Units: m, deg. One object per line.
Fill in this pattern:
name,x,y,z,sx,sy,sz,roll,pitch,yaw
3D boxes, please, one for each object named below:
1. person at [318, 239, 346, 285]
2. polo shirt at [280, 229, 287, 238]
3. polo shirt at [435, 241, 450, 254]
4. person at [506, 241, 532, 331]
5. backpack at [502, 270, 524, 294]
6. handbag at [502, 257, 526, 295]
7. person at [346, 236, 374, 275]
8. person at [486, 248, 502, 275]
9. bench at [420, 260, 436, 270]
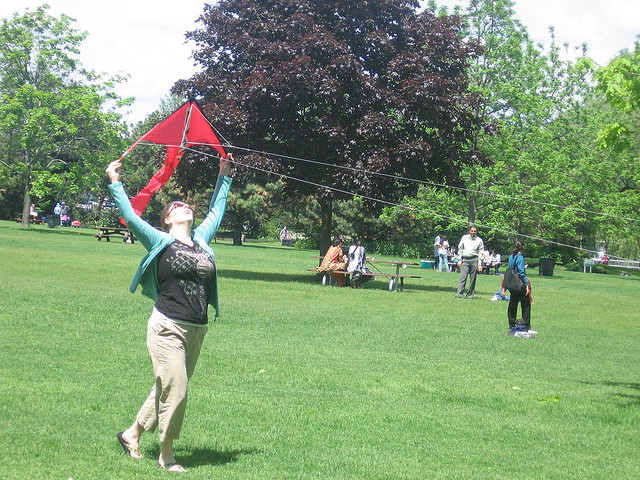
person,0.402,0.843,27.185,1.046,1.908,0.634,-3,18,-25
polo shirt,-3.383,-0.507,71.684,0.708,1.043,0.546,-1,5,7
polo shirt,7.111,0.522,44.458,0.969,1.009,0.562,1,4,11
person,4.934,1.130,18.868,0.616,2.159,0.627,0,8,10
backpack,4.791,1.059,18.917,0.333,0.749,0.738,2,-2,-37
handbag,4.794,0.818,18.861,0.307,0.837,0.714,1,33,23
person,1.266,0.644,26.861,0.915,1.325,0.978,0,-6,32
person,10.438,1.429,46.063,0.830,2.151,1.212,0,-26,12
bench,6.487,1.548,45.213,0.497,0.409,0.514,-2,5,-19
